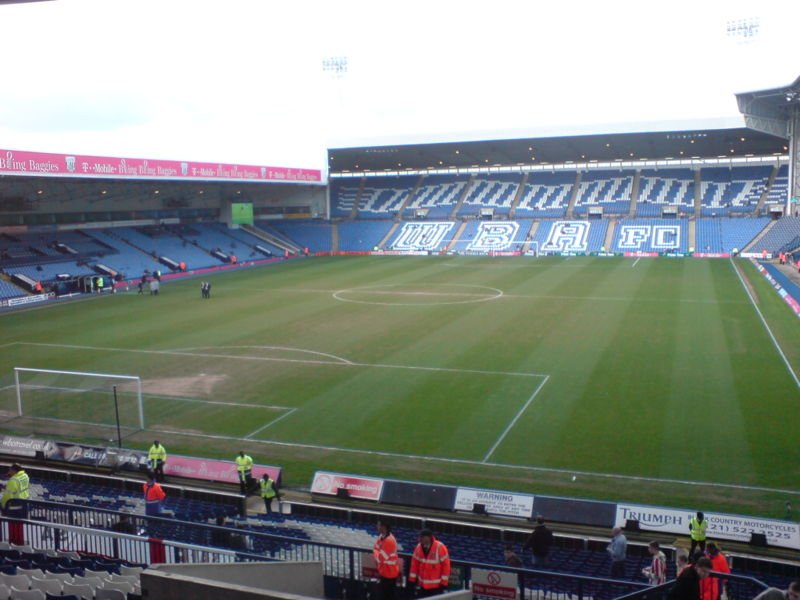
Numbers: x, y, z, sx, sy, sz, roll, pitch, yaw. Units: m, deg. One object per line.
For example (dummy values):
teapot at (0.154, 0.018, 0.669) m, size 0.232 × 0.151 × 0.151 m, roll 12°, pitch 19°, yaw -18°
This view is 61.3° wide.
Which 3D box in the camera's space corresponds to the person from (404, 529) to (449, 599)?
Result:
person at (0.373, 3.632, 9.188) m, size 0.541 × 0.997 × 0.286 m, roll 0°, pitch 13°, yaw 13°
